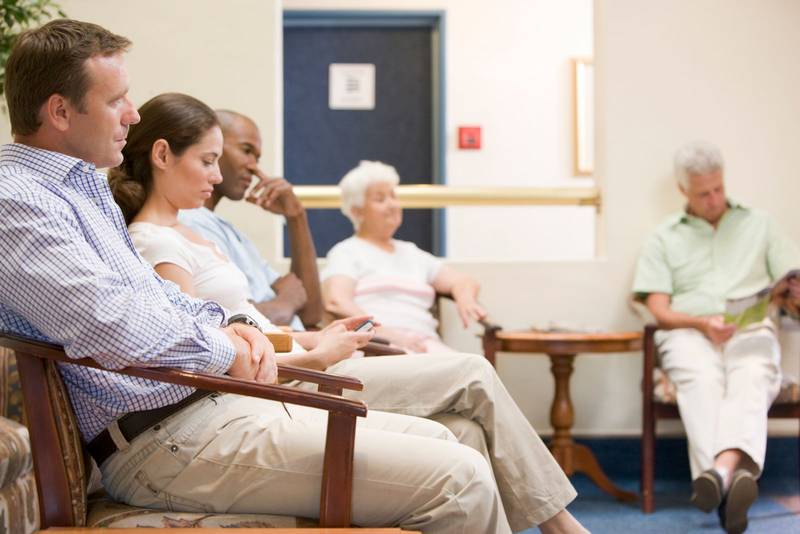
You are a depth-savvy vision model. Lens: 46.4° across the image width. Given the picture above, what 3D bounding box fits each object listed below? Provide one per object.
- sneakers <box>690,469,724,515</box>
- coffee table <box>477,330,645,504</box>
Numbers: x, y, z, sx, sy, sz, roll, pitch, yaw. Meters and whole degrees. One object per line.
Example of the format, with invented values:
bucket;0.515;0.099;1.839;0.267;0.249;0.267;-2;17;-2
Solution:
sneakers;0.880;0.642;2.668;0.069;0.132;0.044;18;27;25
coffee table;0.468;0.403;2.770;0.429;0.490;0.447;0;2;9
